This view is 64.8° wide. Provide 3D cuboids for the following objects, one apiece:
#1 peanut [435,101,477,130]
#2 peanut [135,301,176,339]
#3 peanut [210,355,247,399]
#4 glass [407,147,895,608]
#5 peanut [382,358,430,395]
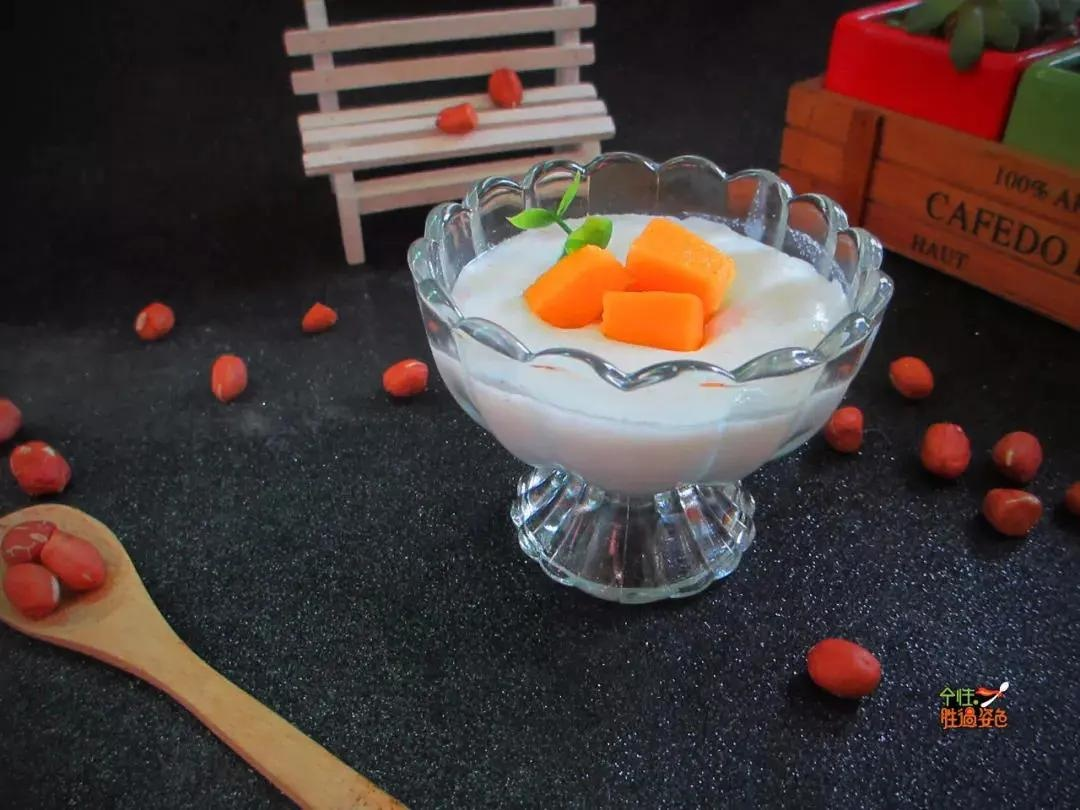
[{"bbox_3d":[-0.178,-0.598,1.791,0.070,0.054,0.048,-9,92,23],"label":"peanut"},{"bbox_3d":[-0.753,-0.170,1.686,0.056,0.048,0.079,23,47,19],"label":"peanut"},{"bbox_3d":[-0.561,-0.048,1.546,0.050,0.044,0.086,0,67,7],"label":"peanut"},{"bbox_3d":[0.151,-0.016,1.325,0.585,0.498,0.637,1,30,0],"label":"glass"},{"bbox_3d":[-0.239,-0.047,1.516,0.067,0.048,0.057,-9,41,1],"label":"peanut"}]
